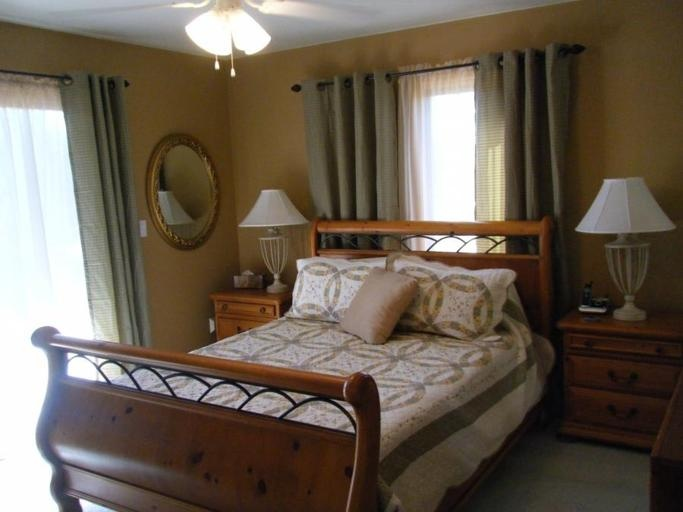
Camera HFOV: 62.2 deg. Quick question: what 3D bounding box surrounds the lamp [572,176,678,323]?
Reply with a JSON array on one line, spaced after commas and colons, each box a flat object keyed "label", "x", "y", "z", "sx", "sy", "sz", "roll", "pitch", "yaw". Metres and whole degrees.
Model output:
[{"label": "lamp", "x": 1.747, "y": -0.058, "z": 3.492, "sx": 0.510, "sy": 0.854, "sz": 0.475, "roll": 4, "pitch": 14, "yaw": 30}]

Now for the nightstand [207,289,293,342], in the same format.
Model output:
[{"label": "nightstand", "x": -0.740, "y": 0.580, "z": 4.737, "sx": 0.576, "sy": 0.606, "sz": 0.387, "roll": 3, "pitch": 12, "yaw": 11}]

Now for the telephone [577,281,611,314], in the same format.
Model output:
[{"label": "telephone", "x": 1.638, "y": 0.269, "z": 3.661, "sx": 0.175, "sy": 0.175, "sz": 0.110, "roll": 3, "pitch": 12, "yaw": 29}]

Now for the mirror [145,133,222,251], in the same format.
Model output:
[{"label": "mirror", "x": -1.293, "y": -0.521, "z": 4.546, "sx": 0.089, "sy": 1.146, "sz": 0.981, "roll": -4, "pitch": -3, "yaw": 23}]

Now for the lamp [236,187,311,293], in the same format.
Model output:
[{"label": "lamp", "x": -0.542, "y": -0.120, "z": 4.582, "sx": 0.557, "sy": 0.812, "sz": 0.564, "roll": 0, "pitch": 5, "yaw": 41}]
